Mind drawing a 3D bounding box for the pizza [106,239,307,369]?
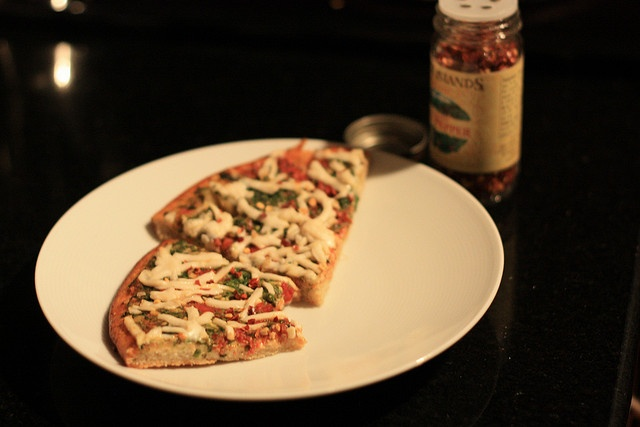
[{"bbox_3d":[-0.465,0.348,2.271,0.761,0.147,0.585,-6,44,-4],"label":"pizza"}]
